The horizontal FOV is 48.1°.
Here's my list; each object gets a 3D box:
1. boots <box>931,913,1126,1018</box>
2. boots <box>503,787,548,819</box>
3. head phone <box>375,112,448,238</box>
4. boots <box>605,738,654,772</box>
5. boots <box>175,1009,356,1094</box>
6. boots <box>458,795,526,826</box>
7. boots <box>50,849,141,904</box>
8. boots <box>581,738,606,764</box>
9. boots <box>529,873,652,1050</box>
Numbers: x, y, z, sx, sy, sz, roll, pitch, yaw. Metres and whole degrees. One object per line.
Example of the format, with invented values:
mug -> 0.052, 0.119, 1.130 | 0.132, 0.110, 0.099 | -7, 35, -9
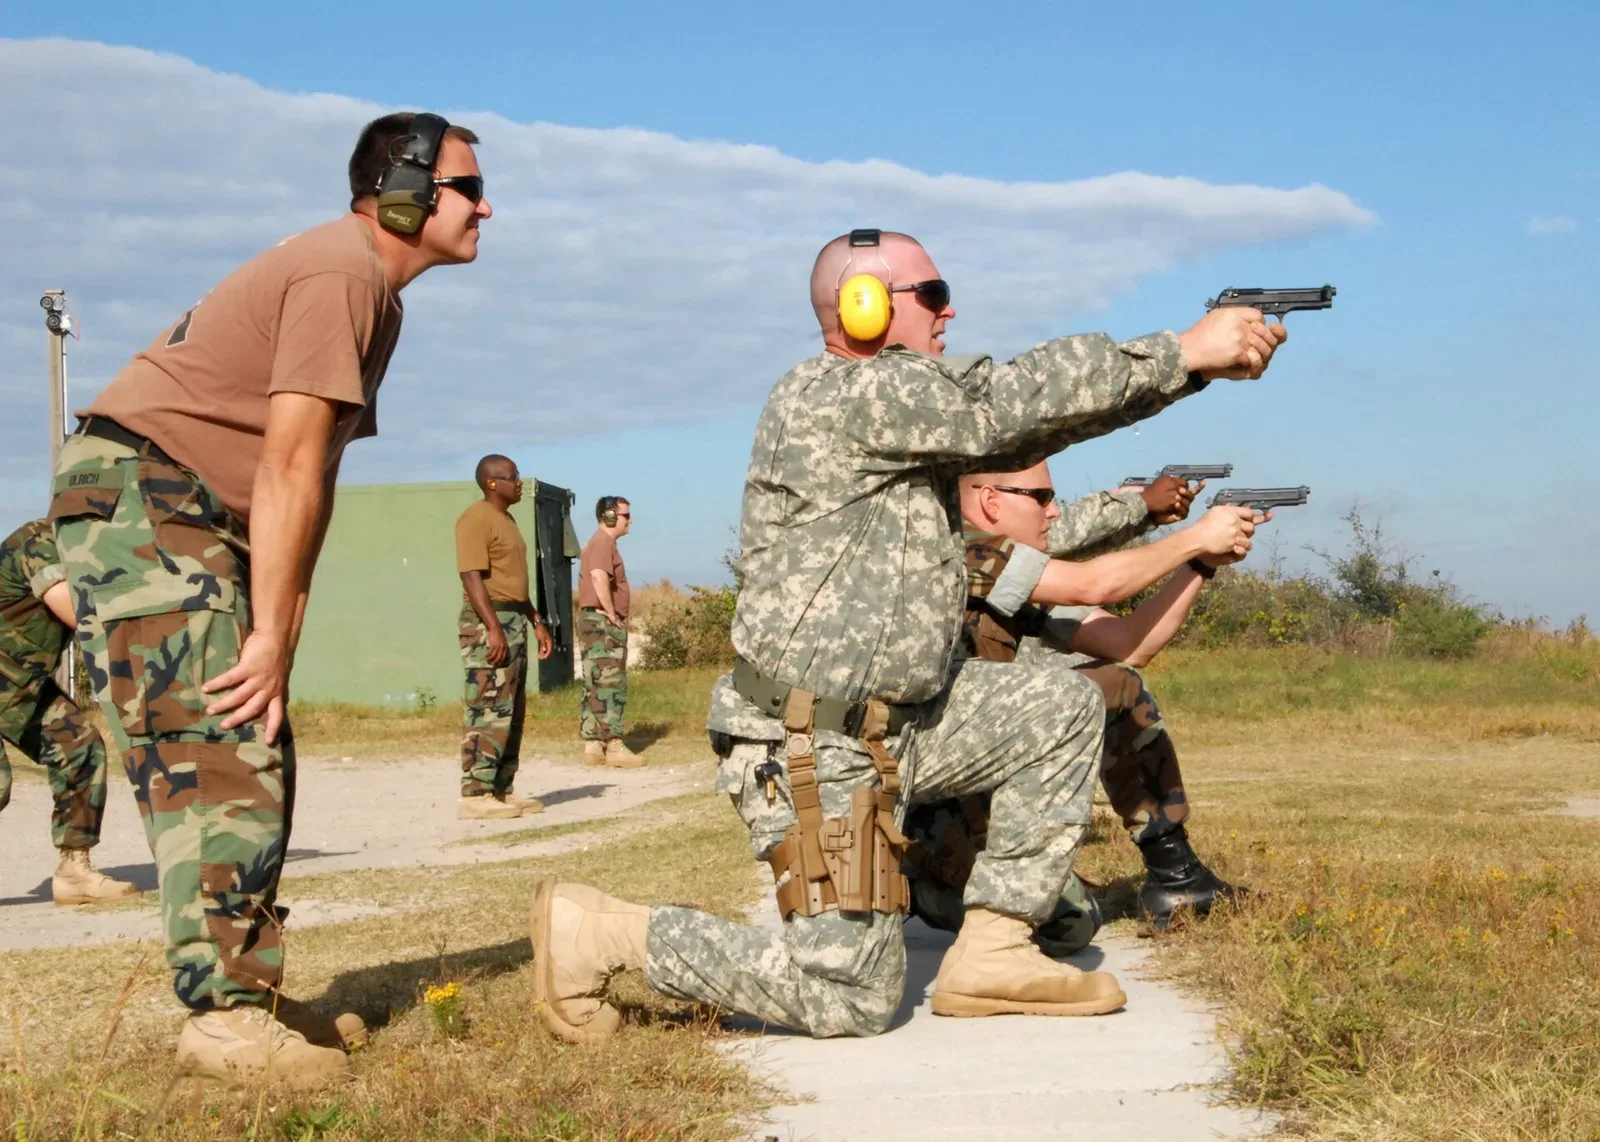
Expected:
boots -> 0.830, 1.567, 7.147 | 0.847, 0.568, 0.332 | 0, -4, -3
boots -> -1.908, 1.641, 12.367 | 0.285, 0.127, 0.127 | -1, 4, 9
head phone -> -1.440, -1.506, 6.770 | 0.204, 0.441, 0.472 | 12, 11, -6
boots -> -1.452, 1.613, 15.445 | 0.449, 0.336, 0.154 | -1, -1, 4
boots -> -1.901, 1.674, 6.350 | 0.681, 0.334, 0.245 | 2, 9, -9
boots -> -2.123, 1.647, 12.205 | 0.308, 0.135, 0.194 | -1, 2, 3
boots -> -3.751, 1.658, 9.607 | 0.514, 0.379, 0.206 | 1, 0, -8
boots -> -1.784, 1.600, 15.606 | 0.179, 0.240, 0.232 | -1, 1, -31
boots -> -0.787, 1.440, 6.711 | 0.249, 0.627, 0.364 | 4, -3, 25
